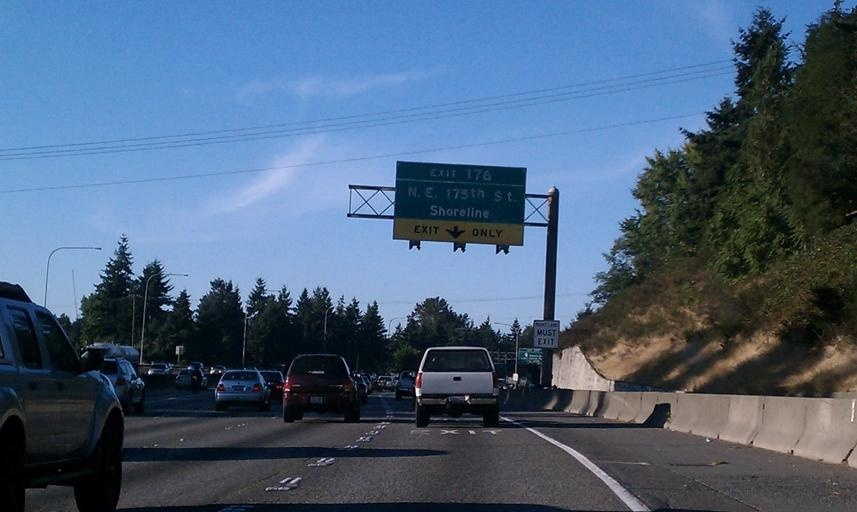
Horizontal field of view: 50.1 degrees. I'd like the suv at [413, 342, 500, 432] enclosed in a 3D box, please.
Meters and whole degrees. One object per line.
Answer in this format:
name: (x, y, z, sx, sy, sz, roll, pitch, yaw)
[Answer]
suv: (0.989, 4.739, 33.429, 2.948, 2.955, 0.949, -2, -7, -3)
